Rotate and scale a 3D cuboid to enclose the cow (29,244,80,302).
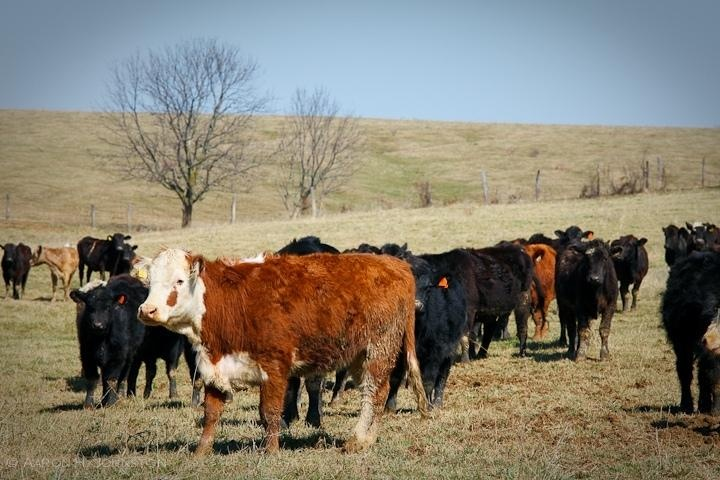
[{"bbox_3d":[-14.151,1.623,45.335,0.919,2.439,3.821,-2,5,9],"label":"cow"}]
